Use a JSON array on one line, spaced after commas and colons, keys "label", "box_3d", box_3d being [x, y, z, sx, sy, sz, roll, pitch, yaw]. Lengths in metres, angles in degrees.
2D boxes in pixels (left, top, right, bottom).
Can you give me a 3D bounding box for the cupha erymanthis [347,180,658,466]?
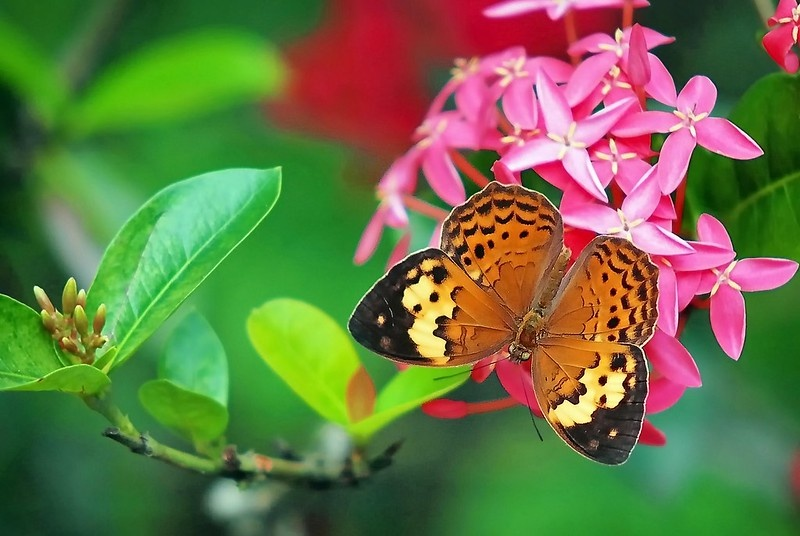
[{"label": "cupha erymanthis", "box_3d": [0.138, 0.082, 1.133, 0.456, 0.320, 0.106, 24, -9, -9]}]
